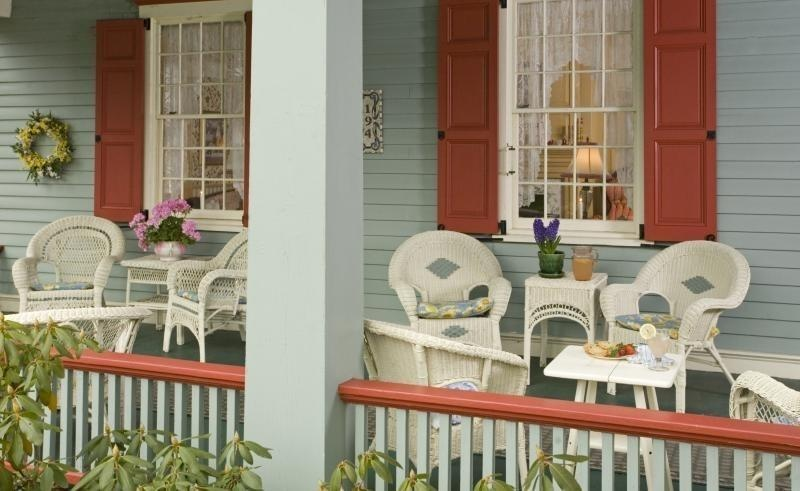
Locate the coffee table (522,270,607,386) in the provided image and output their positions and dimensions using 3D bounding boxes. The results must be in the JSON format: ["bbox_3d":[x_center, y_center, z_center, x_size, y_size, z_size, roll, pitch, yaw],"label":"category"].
[{"bbox_3d":[1.704,0.726,7.600,0.880,1.249,0.883,1,3,19],"label":"coffee table"}]

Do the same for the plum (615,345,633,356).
[{"bbox_3d":[1.561,0.728,5.630,0.108,0.049,0.064,-16,40,-12],"label":"plum"}]

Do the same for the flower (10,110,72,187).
[{"bbox_3d":[-4.029,-1.099,9.113,0.677,0.816,0.182,2,3,19],"label":"flower"}]

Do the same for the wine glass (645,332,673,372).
[{"bbox_3d":[1.765,0.738,5.561,0.188,0.282,0.209,-1,-3,0],"label":"wine glass"}]

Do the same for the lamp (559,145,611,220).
[{"bbox_3d":[1.803,-0.607,7.896,0.450,0.701,0.201,1,3,12],"label":"lamp"}]

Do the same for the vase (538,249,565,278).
[{"bbox_3d":[1.352,0.175,7.245,0.226,0.183,0.227,-1,-1,23],"label":"vase"}]

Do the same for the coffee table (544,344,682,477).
[{"bbox_3d":[1.490,1.178,5.689,0.835,0.828,0.911,1,6,21],"label":"coffee table"}]

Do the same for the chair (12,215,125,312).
[{"bbox_3d":[-3.256,0.313,8.008,0.969,1.203,0.920,0,-2,-13],"label":"chair"}]

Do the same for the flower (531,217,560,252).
[{"bbox_3d":[1.332,-0.077,7.421,0.276,0.385,0.197,-6,-9,33],"label":"flower"}]

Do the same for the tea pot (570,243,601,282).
[{"bbox_3d":[1.618,0.159,7.117,0.287,0.288,0.206,1,-1,12],"label":"tea pot"}]

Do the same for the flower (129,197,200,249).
[{"bbox_3d":[-2.406,-0.208,8.308,0.612,0.434,0.575,-2,7,-3],"label":"flower"}]

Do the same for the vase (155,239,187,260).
[{"bbox_3d":[-2.343,0.051,8.224,0.215,0.137,0.215,0,0,17],"label":"vase"}]
